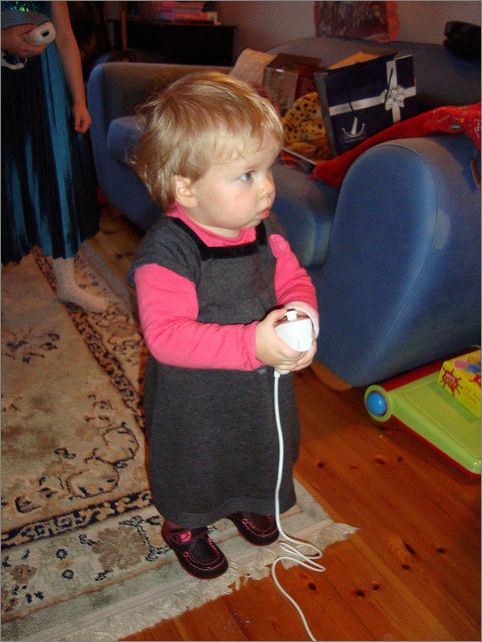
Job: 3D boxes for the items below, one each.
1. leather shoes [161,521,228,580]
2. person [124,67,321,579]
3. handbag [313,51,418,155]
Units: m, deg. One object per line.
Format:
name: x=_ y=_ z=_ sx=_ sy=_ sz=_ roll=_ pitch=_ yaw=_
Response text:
leather shoes: x=-0.087 y=0.418 z=1.021 sx=0.079 sy=0.063 sz=0.169 roll=-3 pitch=13 yaw=-31
person: x=-0.015 y=0.068 z=0.857 sx=0.288 sy=0.819 sz=0.267 roll=-3 pitch=32 yaw=-11
handbag: x=0.296 y=-0.525 z=1.387 sx=0.286 sy=0.250 sz=0.065 roll=-29 pitch=32 yaw=-23
